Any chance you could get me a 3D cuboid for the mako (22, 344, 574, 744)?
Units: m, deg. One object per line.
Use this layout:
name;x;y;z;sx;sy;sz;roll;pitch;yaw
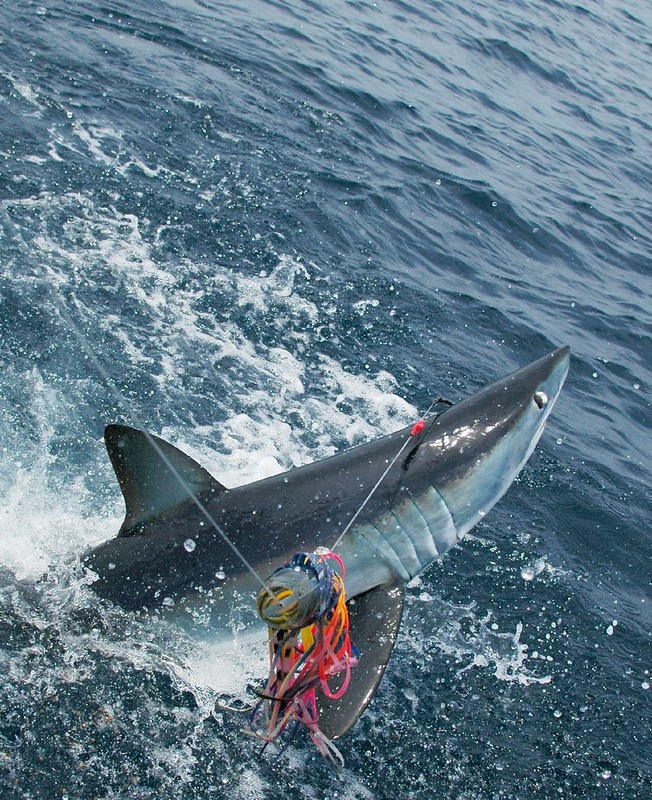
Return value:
mako;0.364;1.185;11.657;4.045;3.547;2.405;10;31;-32
